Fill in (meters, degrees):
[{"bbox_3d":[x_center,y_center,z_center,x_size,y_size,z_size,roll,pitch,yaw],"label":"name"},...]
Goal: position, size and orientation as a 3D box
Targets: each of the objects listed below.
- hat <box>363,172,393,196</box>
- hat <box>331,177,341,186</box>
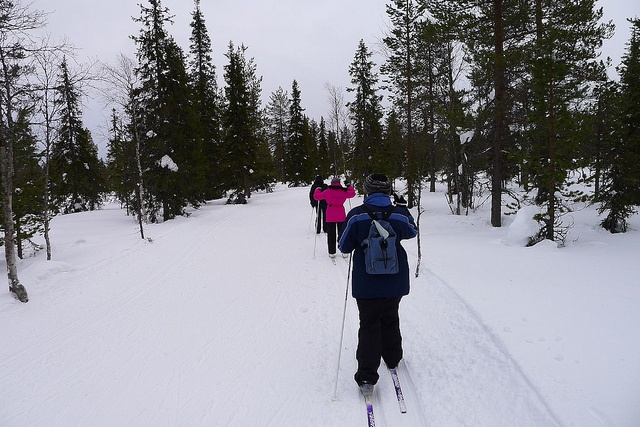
[{"bbox_3d":[1.553,-0.796,12.817,0.583,0.545,0.571,1,25,2],"label":"hat"},{"bbox_3d":[0.577,-1.195,17.788,0.441,0.219,0.645,1,1,-4],"label":"hat"}]
